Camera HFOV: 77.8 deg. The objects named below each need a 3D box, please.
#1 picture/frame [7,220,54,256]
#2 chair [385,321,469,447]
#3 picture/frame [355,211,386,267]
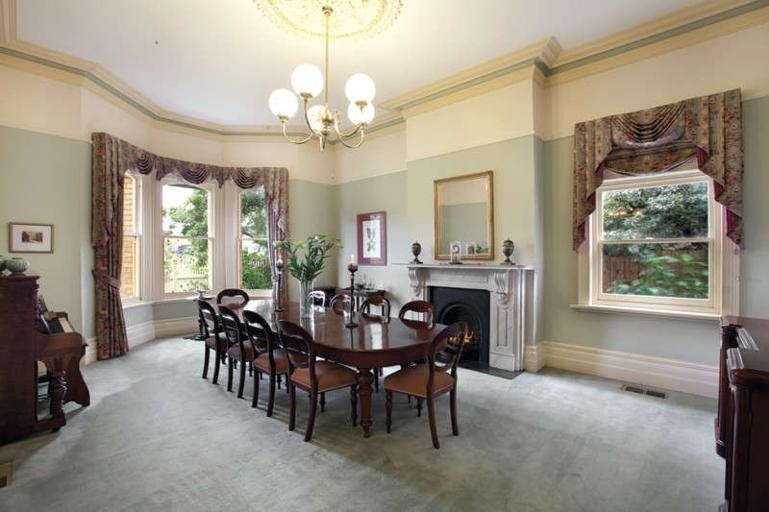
[{"bbox_3d":[-4.833,-0.244,6.465,0.493,0.496,0.037,1,-4,-39],"label":"picture/frame"},{"bbox_3d":[0.436,1.344,5.108,0.886,1.291,0.658,-2,1,4],"label":"chair"},{"bbox_3d":[-0.222,-0.313,8.757,0.658,0.942,0.057,-1,1,39],"label":"picture/frame"}]
